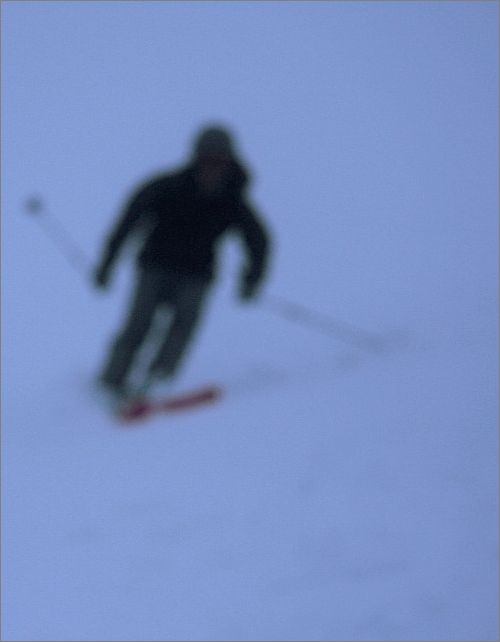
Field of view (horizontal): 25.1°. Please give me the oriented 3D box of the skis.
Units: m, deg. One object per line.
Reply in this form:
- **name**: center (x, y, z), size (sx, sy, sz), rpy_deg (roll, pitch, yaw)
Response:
- **skis**: center (-0.123, 0.132, 1.763), size (0.098, 0.026, 0.013), rpy_deg (-16, -23, -3)
